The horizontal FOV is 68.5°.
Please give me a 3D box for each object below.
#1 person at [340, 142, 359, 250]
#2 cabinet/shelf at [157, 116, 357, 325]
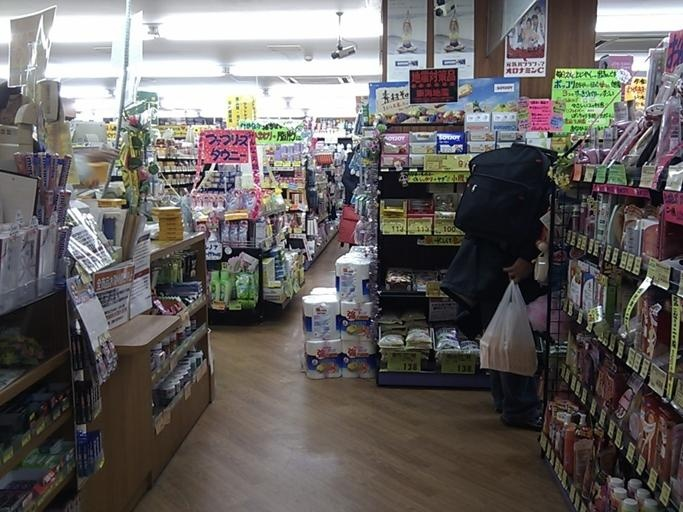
[{"bbox_3d":[0.037,-1.177,10.936,0.370,2.282,0.793,1,-12,-6],"label":"person"},{"bbox_3d":[-1.137,-0.507,6.876,1.349,2.306,5.065,0,10,0],"label":"cabinet/shelf"}]
